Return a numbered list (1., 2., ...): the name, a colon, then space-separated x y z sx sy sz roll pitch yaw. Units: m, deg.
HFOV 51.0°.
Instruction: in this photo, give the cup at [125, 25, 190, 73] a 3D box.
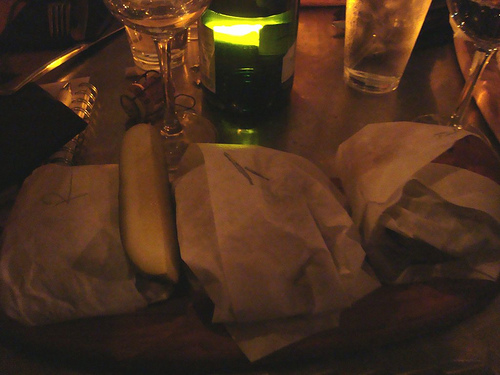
1. cup: -0.169 -0.250 0.952 0.086 0.103 0.088 1 38 0
